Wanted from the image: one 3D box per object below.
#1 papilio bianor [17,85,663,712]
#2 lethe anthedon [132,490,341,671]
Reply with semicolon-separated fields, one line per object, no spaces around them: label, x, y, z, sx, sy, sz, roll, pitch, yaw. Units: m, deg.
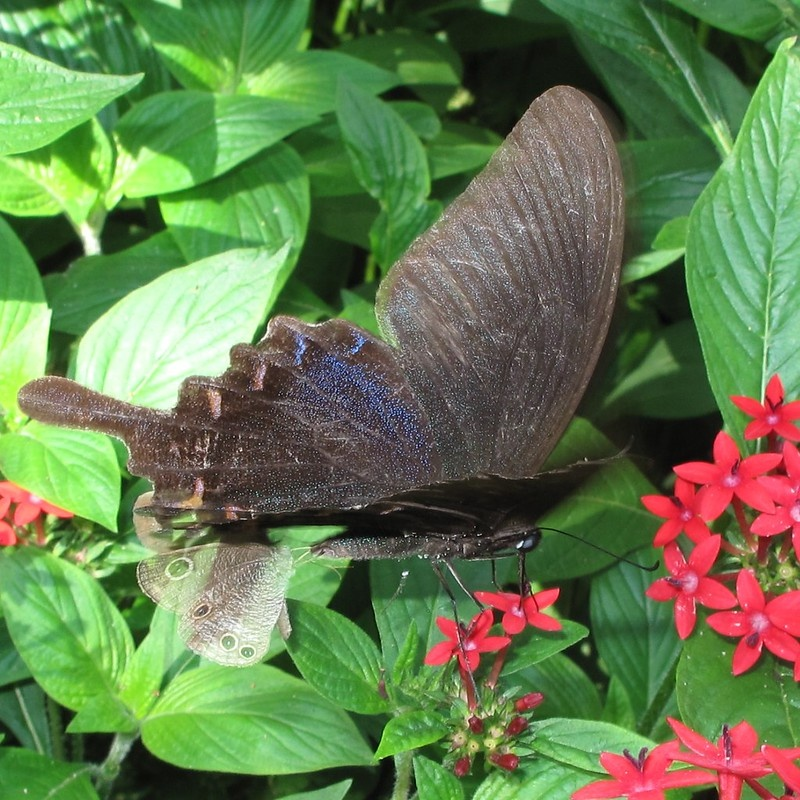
papilio bianor;0.030;-0.053;2.032;1.511;0.957;0.705;-6;25;0
lethe anthedon;-0.274;0.267;1.573;0.190;0.190;0.220;-17;40;6
